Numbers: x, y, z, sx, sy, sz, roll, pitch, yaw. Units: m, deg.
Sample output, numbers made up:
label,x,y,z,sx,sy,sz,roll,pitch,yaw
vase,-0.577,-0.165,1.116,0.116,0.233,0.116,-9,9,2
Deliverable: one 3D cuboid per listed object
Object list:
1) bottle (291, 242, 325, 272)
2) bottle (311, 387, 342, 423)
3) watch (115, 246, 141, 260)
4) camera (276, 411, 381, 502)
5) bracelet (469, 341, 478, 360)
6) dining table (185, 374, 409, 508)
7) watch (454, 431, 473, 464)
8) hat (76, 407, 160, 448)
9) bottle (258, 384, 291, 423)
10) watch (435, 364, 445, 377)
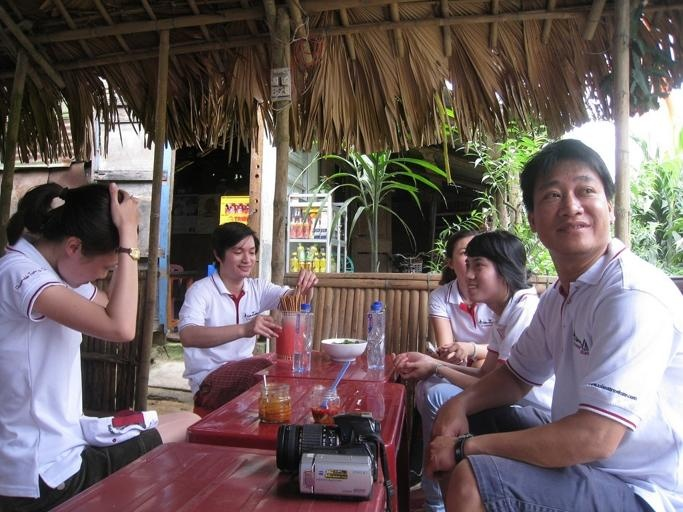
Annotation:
label,x,y,z,sx,sy,sz,roll,pitch,yaw
bottle,-0.360,0.026,6.349,0.320,0.371,0.338,1,-9,-3
bottle,-0.061,0.592,2.169,0.109,0.124,0.081,5,-6,-22
watch,-0.911,-0.006,2.382,0.063,0.045,0.067,4,-4,-10
camera,-0.035,0.619,1.779,0.221,0.155,0.239,2,-7,7
bracelet,0.775,0.555,3.229,0.026,0.077,0.076,-1,-35,12
dining table,-0.151,0.640,2.269,0.620,0.537,0.673,0,0,12
watch,0.445,0.700,2.078,0.056,0.103,0.097,21,37,26
hat,-0.955,0.727,2.371,0.160,0.081,0.174,1,0,3
bottle,-0.250,0.560,2.157,0.121,0.144,0.131,1,-5,0
watch,0.501,0.586,2.864,0.057,0.071,0.044,5,3,25
